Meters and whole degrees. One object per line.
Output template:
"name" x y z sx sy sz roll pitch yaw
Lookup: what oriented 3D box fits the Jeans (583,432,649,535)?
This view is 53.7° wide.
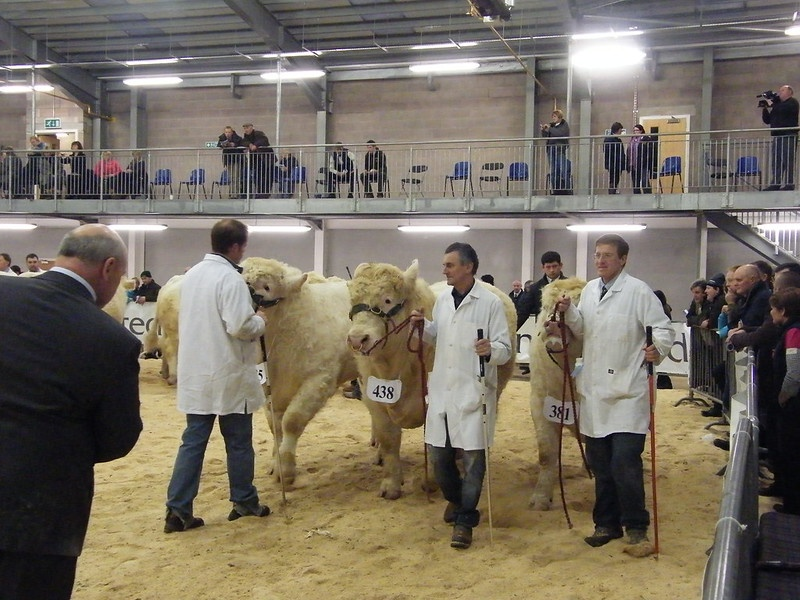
"Jeans" 1.890 1.583 6.854 0.321 0.981 0.543 -6 9 -40

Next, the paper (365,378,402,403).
"paper" -0.140 0.850 7.473 0.224 0.181 0.017 4 -2 1

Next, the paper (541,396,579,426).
"paper" 1.499 1.026 7.352 0.274 0.225 0.014 11 4 3

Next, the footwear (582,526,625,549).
"footwear" 1.786 2.070 6.922 0.355 0.183 0.131 0 -5 -18

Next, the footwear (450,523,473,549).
"footwear" 0.549 2.044 6.918 0.177 0.195 0.252 1 7 8

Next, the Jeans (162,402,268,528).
"Jeans" -1.640 1.318 7.192 0.891 1.701 0.417 0 34 -15

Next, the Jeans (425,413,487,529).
"Jeans" 0.548 1.560 7.067 0.536 1.063 0.456 2 8 21

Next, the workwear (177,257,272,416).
"workwear" -1.661 0.328 7.495 0.837 1.419 1.042 -2 3 -42

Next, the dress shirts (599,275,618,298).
"dress shirts" 1.825 -0.111 6.918 0.091 0.182 0.129 24 -14 -40

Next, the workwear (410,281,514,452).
"workwear" 0.599 0.569 7.008 0.761 1.425 0.615 0 7 2

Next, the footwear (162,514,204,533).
"footwear" -1.978 2.006 7.186 0.136 0.184 0.405 3 1 37

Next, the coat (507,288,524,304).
"coat" 2.334 -0.103 15.785 0.391 0.220 0.534 -2 22 15
